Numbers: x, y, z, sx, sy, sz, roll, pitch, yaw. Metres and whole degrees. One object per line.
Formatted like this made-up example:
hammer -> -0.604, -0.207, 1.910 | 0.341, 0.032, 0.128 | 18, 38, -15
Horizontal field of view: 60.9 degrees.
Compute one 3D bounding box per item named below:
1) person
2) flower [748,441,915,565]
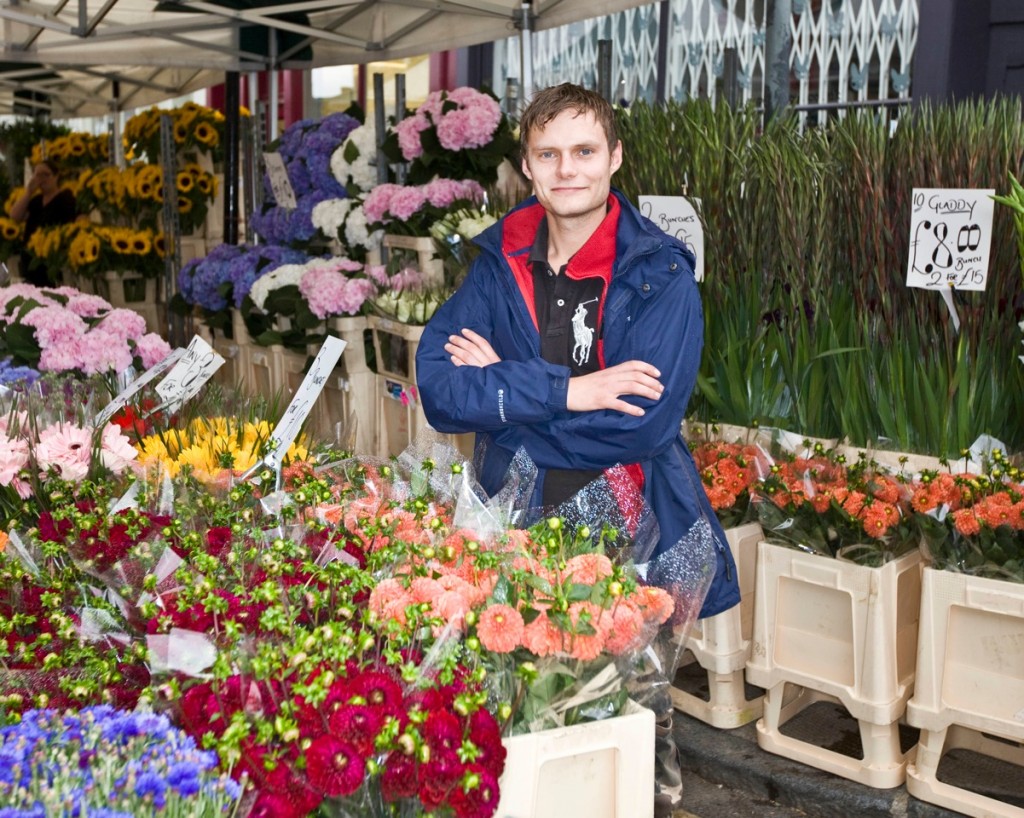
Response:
person -> 0.218, 0.142, 2.406 | 0.637, 1.930, 0.669 | 5, 22, 27
flower -> 0.909, 0.267, 2.462 | 0.283, 0.168, 0.338 | 13, 38, 21
